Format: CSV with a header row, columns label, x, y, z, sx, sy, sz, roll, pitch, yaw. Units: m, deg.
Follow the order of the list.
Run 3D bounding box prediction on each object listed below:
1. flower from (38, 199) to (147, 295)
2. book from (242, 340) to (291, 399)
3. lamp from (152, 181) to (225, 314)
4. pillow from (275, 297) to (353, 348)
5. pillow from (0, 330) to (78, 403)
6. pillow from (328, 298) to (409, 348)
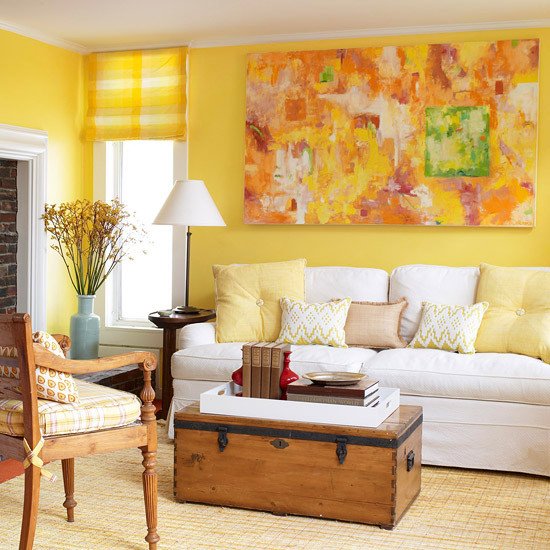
label,x,y,z,sx,sy,sz,roll,pitch,yaw
flower,-1.441,-0.245,4.430,0.723,0.831,0.655,0,-2,-1
book,-0.048,0.408,2.445,0.260,0.281,0.214,4,-1,15
lamp,-0.613,-0.225,3.925,0.480,1.011,0.661,0,-1,-5
pillow,0.237,0.289,3.394,0.470,0.270,0.162,1,1,23
pillow,-0.763,0.289,1.651,0.260,0.226,0.237,0,-2,2
pillow,0.617,0.310,3.438,0.463,0.305,0.164,-1,-3,42
